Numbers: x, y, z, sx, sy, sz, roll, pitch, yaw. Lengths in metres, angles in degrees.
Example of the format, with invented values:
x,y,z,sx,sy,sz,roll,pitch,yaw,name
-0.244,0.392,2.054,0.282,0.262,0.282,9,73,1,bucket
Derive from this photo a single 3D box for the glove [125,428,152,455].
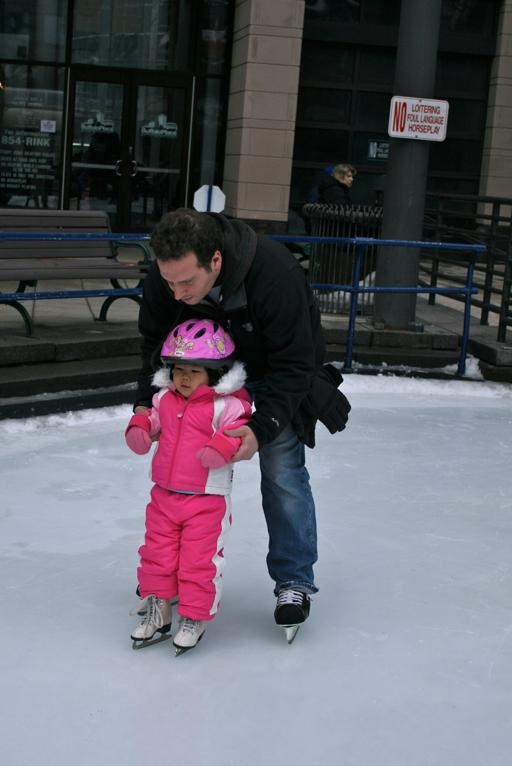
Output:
x,y,z,sx,sy,sz,roll,pitch,yaw,name
-0.318,0.158,2.028,0.065,0.081,0.084,4,-22,8,glove

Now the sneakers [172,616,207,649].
x,y,z,sx,sy,sz,roll,pitch,yaw,name
-0.187,0.722,2.125,0.053,0.070,0.142,5,0,8,sneakers

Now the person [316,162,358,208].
x,y,z,sx,sy,sz,roll,pitch,yaw,name
0.965,-2.410,8.870,0.400,0.549,0.714,4,8,5,person

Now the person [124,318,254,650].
x,y,z,sx,sy,sz,roll,pitch,yaw,name
-0.180,0.314,2.041,0.435,0.980,0.280,10,11,38,person

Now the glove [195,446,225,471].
x,y,z,sx,sy,sz,roll,pitch,yaw,name
-0.108,0.188,1.814,0.063,0.050,0.028,-27,16,40,glove

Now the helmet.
x,y,z,sx,sy,sz,roll,pitch,yaw,name
-0.156,-0.101,1.975,0.193,0.139,0.196,3,7,-2,helmet
